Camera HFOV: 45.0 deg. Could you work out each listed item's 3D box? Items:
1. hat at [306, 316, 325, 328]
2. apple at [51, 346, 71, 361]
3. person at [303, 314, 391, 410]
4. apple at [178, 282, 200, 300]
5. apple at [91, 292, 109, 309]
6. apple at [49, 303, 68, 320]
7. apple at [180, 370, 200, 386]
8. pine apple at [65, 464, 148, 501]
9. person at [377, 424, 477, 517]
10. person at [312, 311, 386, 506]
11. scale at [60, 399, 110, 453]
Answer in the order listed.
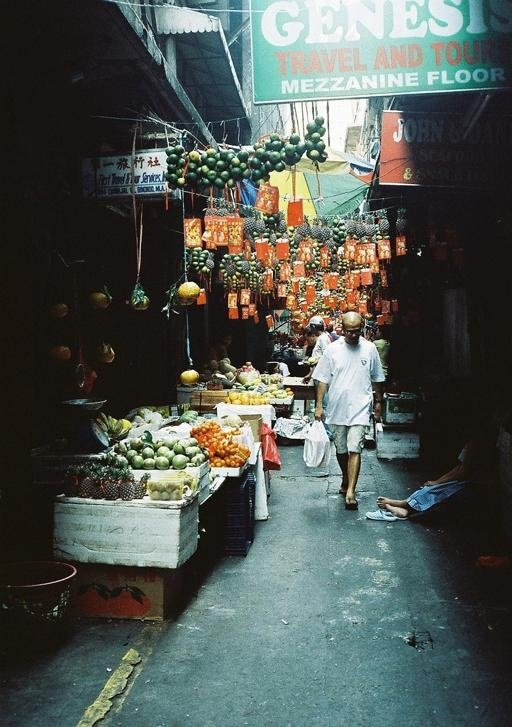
[{"bbox_3d":[0.904,-0.645,9.447,0.197,0.158,0.147,-10,6,29],"label":"hat"},{"bbox_3d":[-1.497,-0.080,4.716,0.159,0.117,0.105,-2,4,-32],"label":"apple"},{"bbox_3d":[0.900,0.117,6.062,0.532,1.167,0.496,0,5,3],"label":"person"},{"bbox_3d":[-0.662,-0.711,6.056,0.169,0.184,0.180,1,2,9],"label":"apple"},{"bbox_3d":[-1.334,-0.560,5.273,0.108,0.144,0.161,1,3,14],"label":"apple"},{"bbox_3d":[-1.516,-0.410,4.749,0.089,0.115,0.130,1,3,8],"label":"apple"},{"bbox_3d":[-0.860,0.167,8.169,0.246,0.291,0.241,-3,3,-20],"label":"apple"},{"bbox_3d":[-0.904,0.690,3.623,0.534,0.146,0.271,1,3,8],"label":"pine apple"},{"bbox_3d":[1.504,1.017,5.469,0.830,0.651,0.459,1,3,11],"label":"person"},{"bbox_3d":[0.897,0.401,6.074,0.648,1.832,0.762,0,2,5],"label":"person"},{"bbox_3d":[-1.153,0.415,4.167,0.279,0.352,0.252,-1,3,-18],"label":"scale"}]
